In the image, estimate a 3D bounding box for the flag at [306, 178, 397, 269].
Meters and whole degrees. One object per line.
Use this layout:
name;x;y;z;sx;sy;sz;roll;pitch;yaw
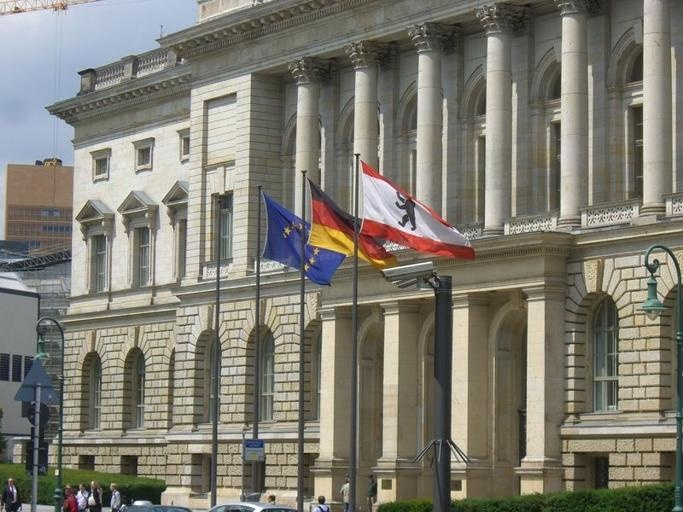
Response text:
flag;0.421;-1.324;95.861;4.329;4.168;0.649;5;-9;-8

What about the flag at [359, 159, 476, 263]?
flag;2.714;-1.845;90.740;5.501;4.538;1.803;-13;-17;43
